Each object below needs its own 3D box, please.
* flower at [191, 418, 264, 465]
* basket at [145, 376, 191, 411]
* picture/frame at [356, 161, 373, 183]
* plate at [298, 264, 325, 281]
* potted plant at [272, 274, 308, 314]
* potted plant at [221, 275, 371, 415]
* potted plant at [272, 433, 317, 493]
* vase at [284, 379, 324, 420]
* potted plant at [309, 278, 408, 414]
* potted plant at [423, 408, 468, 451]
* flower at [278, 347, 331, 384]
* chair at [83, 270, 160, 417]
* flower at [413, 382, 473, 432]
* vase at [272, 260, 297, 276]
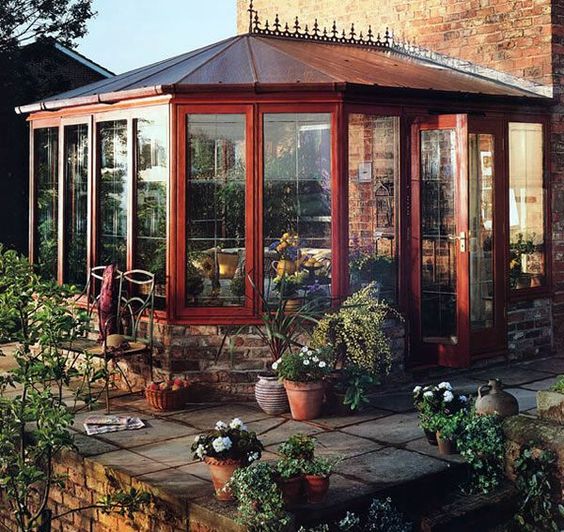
[{"bbox_3d":[-0.317,0.995,3.346,0.396,0.236,0.314,-3,1,-4],"label":"flower"},{"bbox_3d":[-1.038,1.141,5.259,0.375,0.264,0.272,-3,1,-9],"label":"basket"},{"bbox_3d":[0.809,-0.930,5.834,0.243,0.255,0.035,1,-3,-36],"label":"picture/frame"},{"bbox_3d":[0.288,0.054,5.631,0.172,0.118,0.179,1,1,37],"label":"plate"},{"bbox_3d":[0.084,0.255,5.634,0.423,0.424,0.339,1,-4,-7],"label":"potted plant"},{"bbox_3d":[0.108,0.586,5.483,1.262,0.711,1.280,3,1,39],"label":"potted plant"},{"bbox_3d":[0.062,1.069,3.230,0.253,0.320,0.218,1,-4,-5],"label":"potted plant"},{"bbox_3d":[0.180,1.066,4.882,0.357,0.258,0.333,0,-5,1],"label":"vase"},{"bbox_3d":[0.655,0.802,5.421,0.807,1.036,0.793,8,4,8],"label":"potted plant"},{"bbox_3d":[1.088,1.056,3.921,0.291,0.205,0.281,0,-1,-1],"label":"potted plant"},{"bbox_3d":[0.142,0.791,4.931,0.319,0.194,0.333,1,-1,-12],"label":"flower"},{"bbox_3d":[-1.504,0.739,5.581,0.568,1.185,1.324,-1,3,-36],"label":"chair"},{"bbox_3d":[1.153,0.897,4.115,0.443,0.420,0.369,2,-6,-6],"label":"flower"},{"bbox_3d":[0.022,0.010,5.616,0.194,0.151,0.143,-3,5,5],"label":"vase"}]
